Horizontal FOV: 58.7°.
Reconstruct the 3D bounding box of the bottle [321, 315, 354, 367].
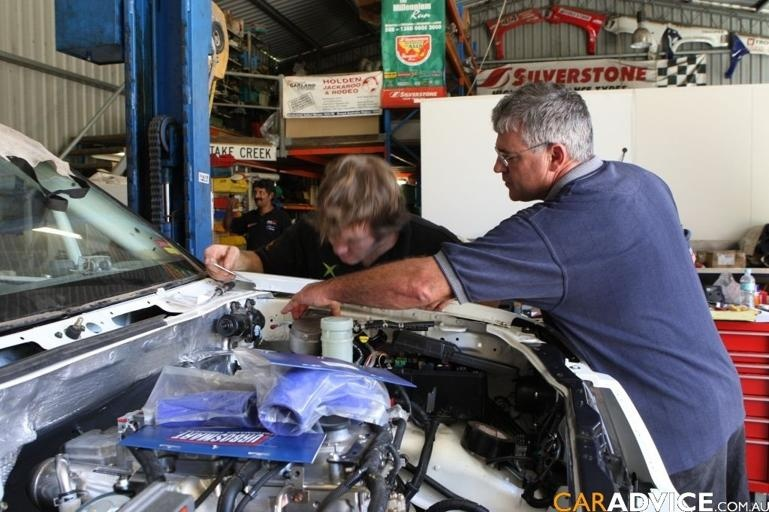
[{"bbox_3d":[-0.185,0.321,2.664,0.154,0.231,0.155,-1,-3,0],"label":"bottle"}]
